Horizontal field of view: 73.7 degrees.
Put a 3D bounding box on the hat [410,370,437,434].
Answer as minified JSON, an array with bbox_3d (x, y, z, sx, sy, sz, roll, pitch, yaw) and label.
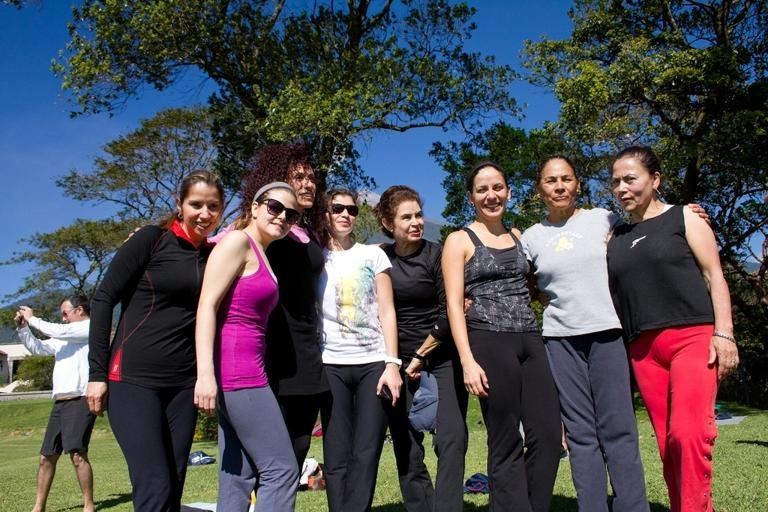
[{"bbox_3d":[0.395,1.434,4.941,0.352,0.493,0.192,7,-1,36],"label":"hat"}]

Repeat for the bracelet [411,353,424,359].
[{"bbox_3d":[0.332,0.976,4.949,0.082,0.035,0.053,26,-4,23],"label":"bracelet"}]
